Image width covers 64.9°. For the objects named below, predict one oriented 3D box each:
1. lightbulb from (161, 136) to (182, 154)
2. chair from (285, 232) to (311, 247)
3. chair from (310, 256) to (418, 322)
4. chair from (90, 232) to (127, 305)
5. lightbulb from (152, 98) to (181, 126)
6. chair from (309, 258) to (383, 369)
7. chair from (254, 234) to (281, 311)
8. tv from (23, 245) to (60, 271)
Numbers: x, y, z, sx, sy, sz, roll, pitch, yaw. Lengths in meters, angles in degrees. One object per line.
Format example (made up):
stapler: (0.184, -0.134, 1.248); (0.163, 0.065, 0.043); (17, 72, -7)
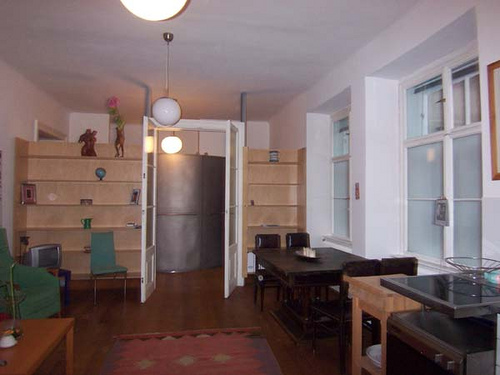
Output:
lightbulb: (-1.491, -0.819, 7.456); (0.345, 0.320, 0.213); (0, 4, -9)
chair: (0.720, 0.766, 5.970); (0.235, 0.244, 0.341); (2, 7, -5)
chair: (1.151, 1.042, 3.988); (1.062, 0.672, 0.522); (1, 4, 8)
chair: (-2.234, 1.217, 6.161); (0.522, 0.982, 0.916); (-2, 4, -22)
lightbulb: (-1.095, -0.975, 5.123); (0.323, 0.380, 0.341); (5, 9, 12)
chair: (0.989, 1.287, 4.099); (0.629, 1.134, 1.065); (0, 4, -8)
chair: (0.252, 1.205, 5.695); (0.376, 0.977, 0.733); (0, 4, 1)
tv: (-2.959, 1.018, 5.888); (0.460, 0.378, 0.273); (1, 3, 5)
